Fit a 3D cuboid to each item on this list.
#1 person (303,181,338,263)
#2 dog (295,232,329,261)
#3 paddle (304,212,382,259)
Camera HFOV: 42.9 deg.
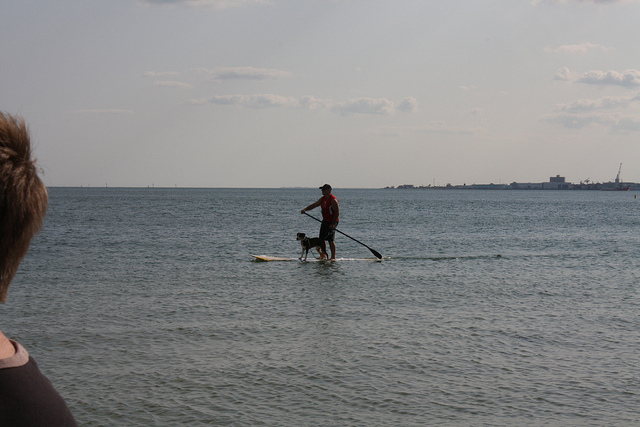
[{"bbox_3d":[0.170,0.334,27.584,0.778,2.560,1.181,0,6,-9],"label":"person"},{"bbox_3d":[-0.329,1.140,27.754,1.369,0.734,0.368,6,-13,-27],"label":"dog"},{"bbox_3d":[0.986,0.997,36.144,3.582,0.444,0.237,24,-15,-3],"label":"paddle"}]
